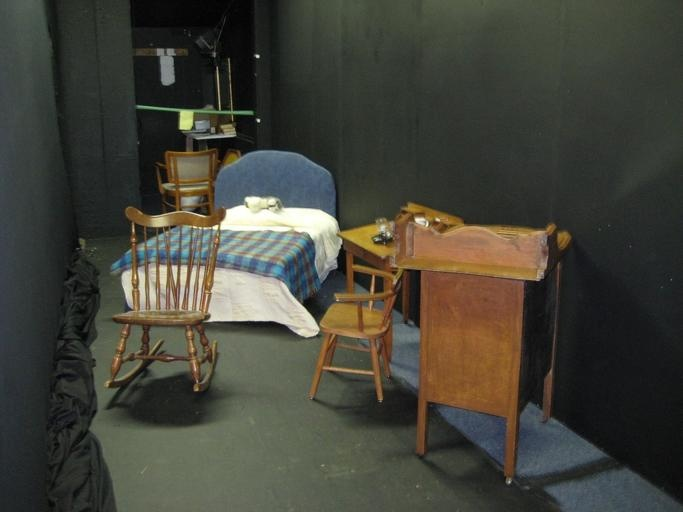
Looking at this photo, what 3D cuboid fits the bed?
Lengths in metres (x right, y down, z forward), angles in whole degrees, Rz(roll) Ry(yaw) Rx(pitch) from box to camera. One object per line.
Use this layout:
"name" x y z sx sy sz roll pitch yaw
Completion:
"bed" -0.710 -0.160 5.032 1.407 1.105 1.768 3 15 12

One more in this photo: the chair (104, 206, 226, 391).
"chair" -0.971 0.252 3.523 0.625 0.994 0.803 5 8 19

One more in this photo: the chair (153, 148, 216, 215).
"chair" -1.693 -0.782 6.985 0.632 0.882 0.585 -10 24 -27
